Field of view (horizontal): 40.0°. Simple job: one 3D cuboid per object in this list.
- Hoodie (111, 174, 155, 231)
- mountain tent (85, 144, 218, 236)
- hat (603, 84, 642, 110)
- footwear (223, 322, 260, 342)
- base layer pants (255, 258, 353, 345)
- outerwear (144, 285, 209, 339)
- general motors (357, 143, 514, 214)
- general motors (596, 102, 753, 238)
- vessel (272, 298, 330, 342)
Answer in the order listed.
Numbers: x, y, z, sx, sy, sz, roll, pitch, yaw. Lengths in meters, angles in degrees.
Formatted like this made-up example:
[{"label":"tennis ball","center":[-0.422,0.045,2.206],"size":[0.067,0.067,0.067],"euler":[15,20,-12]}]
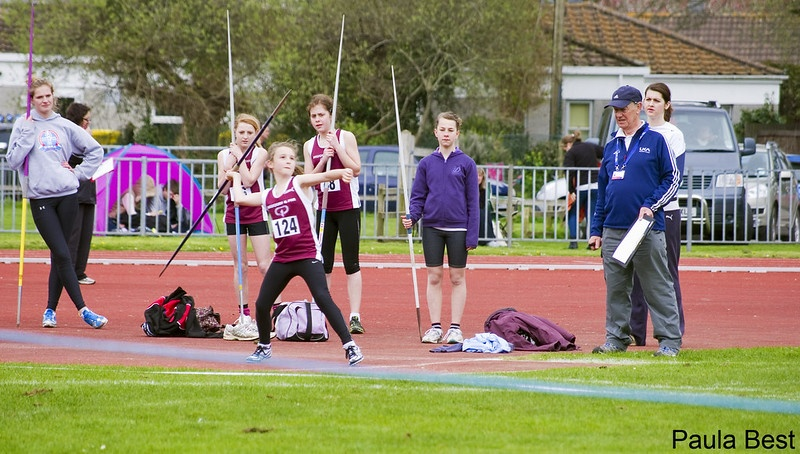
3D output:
[{"label":"Hoodie","center":[-6.130,-0.534,25.643],"size":[1.345,1.133,0.858],"euler":[0,1,41]},{"label":"mountain tent","center":[-5.962,-0.928,25.908],"size":[2.380,1.528,2.313],"euler":[-2,3,-45]},{"label":"hat","center":[3.580,-2.078,17.588],"size":[0.492,0.263,0.330],"euler":[-5,8,-35]},{"label":"footwear","center":[-2.635,1.771,18.291],"size":[0.699,0.300,0.263],"euler":[0,0,9]},{"label":"base layer pants","center":[-1.578,1.280,18.023],"size":[1.499,1.380,0.539],"euler":[-1,-24,-3]},{"label":"outerwear","center":[-3.784,1.470,18.600],"size":[0.829,0.406,0.938],"euler":[2,10,-1]},{"label":"general motors","center":[0.551,-1.354,29.691],"size":[3.585,1.751,2.004],"euler":[-1,3,4]},{"label":"general motors","center":[5.461,-1.022,21.626],"size":[3.595,3.025,5.453],"euler":[0,0,6]},{"label":"vessel","center":[-1.682,1.528,18.548],"size":[0.796,0.506,0.738],"euler":[1,6,-11]}]
